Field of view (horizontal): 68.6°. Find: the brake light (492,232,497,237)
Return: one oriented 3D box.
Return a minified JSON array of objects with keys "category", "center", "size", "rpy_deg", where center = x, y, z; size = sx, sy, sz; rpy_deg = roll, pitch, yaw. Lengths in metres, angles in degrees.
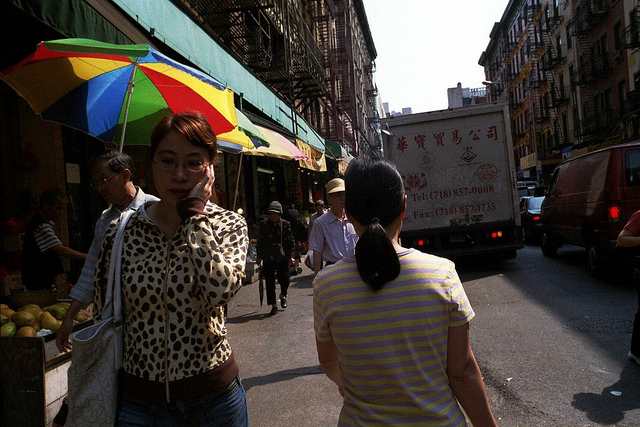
[{"category":"brake light","center":[4.456,0.564,11.971],"size":[0.109,0.124,0.061],"rpy_deg":[5,11,9]}]

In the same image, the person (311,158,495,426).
[{"category":"person","center":[0.461,0.481,2.849],"size":[0.988,1.647,0.354],"rpy_deg":[-4,3,-10]}]

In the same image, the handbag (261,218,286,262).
[{"category":"handbag","center":[-0.959,0.757,9.521],"size":[0.487,0.420,0.467],"rpy_deg":[-4,4,-13]}]

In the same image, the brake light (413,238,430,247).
[{"category":"brake light","center":[2.632,0.756,12.177],"size":[0.417,0.210,0.081],"rpy_deg":[-3,3,7]}]

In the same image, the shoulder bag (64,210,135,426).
[{"category":"shoulder bag","center":[-1.416,0.767,3.143],"size":[0.331,1.186,0.348],"rpy_deg":[-5,-16,16]}]

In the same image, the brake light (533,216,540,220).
[{"category":"brake light","center":[7.736,0.175,16.759],"size":[0.200,0.117,0.059],"rpy_deg":[-2,4,24]}]

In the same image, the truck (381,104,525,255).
[{"category":"truck","center":[3.445,-0.372,14.960],"size":[3.965,4.443,6.480],"rpy_deg":[-6,-3,-1]}]

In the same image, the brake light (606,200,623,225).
[{"category":"brake light","center":[5.982,0.003,9.616],"size":[0.206,0.421,0.220],"rpy_deg":[-8,-20,2]}]
